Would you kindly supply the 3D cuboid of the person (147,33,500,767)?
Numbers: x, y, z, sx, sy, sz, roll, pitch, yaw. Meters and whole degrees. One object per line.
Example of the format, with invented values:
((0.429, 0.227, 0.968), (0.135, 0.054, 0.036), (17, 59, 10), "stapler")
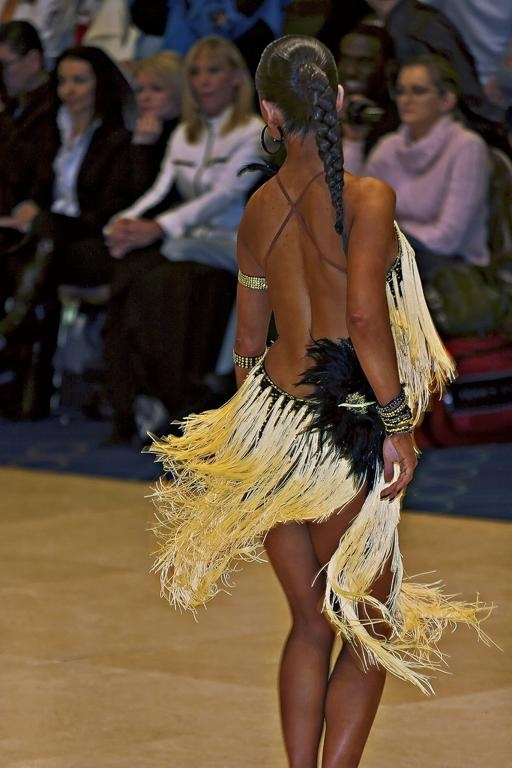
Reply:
((0.095, 0.060, 1.270), (0.518, 1.126, 0.410), (-3, 6, -8), "person")
